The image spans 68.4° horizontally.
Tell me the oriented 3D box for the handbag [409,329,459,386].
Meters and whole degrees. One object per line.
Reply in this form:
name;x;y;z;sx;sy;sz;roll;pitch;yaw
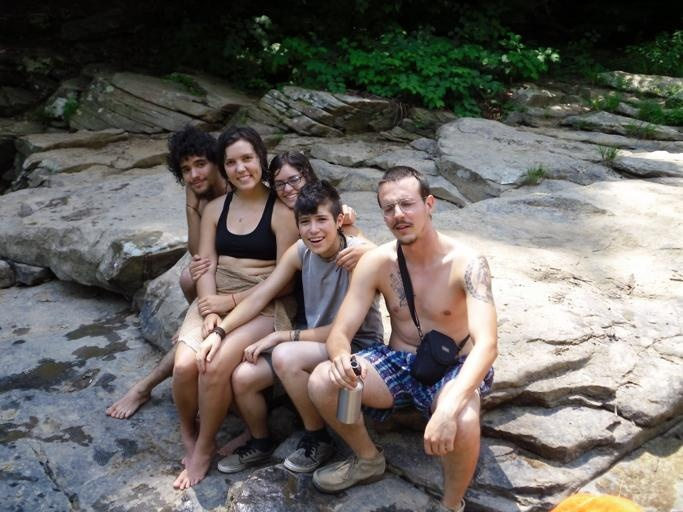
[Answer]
handbag;0.537;0.575;2.840;0.232;0.268;0.148;20;-6;-23

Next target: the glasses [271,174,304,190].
glasses;-0.373;-0.509;3.495;0.186;0.120;0.072;0;22;-7

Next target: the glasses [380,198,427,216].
glasses;0.354;-0.271;2.880;0.235;0.114;0.087;4;22;3

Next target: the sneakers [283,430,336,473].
sneakers;-0.174;1.164;3.064;0.331;0.147;0.174;-15;27;-42

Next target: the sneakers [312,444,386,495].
sneakers;0.044;1.233;2.947;0.422;0.170;0.181;-9;28;-10

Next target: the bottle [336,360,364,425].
bottle;0.056;0.753;2.780;0.121;0.362;0.196;10;23;18

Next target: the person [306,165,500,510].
person;0.394;0.448;2.851;0.957;1.740;0.933;11;23;19
